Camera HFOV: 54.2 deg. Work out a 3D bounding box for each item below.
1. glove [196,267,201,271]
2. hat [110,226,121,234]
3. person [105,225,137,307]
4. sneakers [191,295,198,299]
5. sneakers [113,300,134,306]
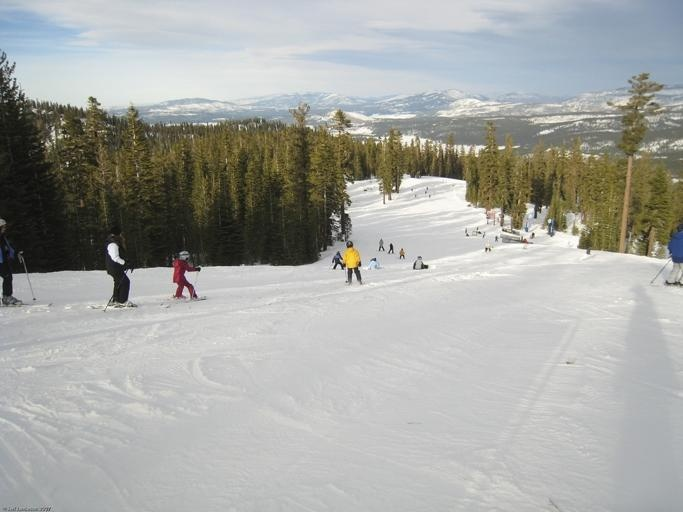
[{"bbox_3d":[-5.143,0.477,23.759,0.147,0.050,0.150,2,9,13],"label":"glove"},{"bbox_3d":[-7.404,-0.862,21.774,0.310,0.165,0.256,8,-8,-12],"label":"hat"},{"bbox_3d":[-7.526,0.305,22.458,0.790,2.683,1.542,-2,9,-19],"label":"person"},{"bbox_3d":[-5.362,1.476,24.056,0.134,0.120,0.044,5,19,17],"label":"sneakers"},{"bbox_3d":[-7.320,1.592,22.301,0.626,0.269,0.217,0,8,-24],"label":"sneakers"}]
